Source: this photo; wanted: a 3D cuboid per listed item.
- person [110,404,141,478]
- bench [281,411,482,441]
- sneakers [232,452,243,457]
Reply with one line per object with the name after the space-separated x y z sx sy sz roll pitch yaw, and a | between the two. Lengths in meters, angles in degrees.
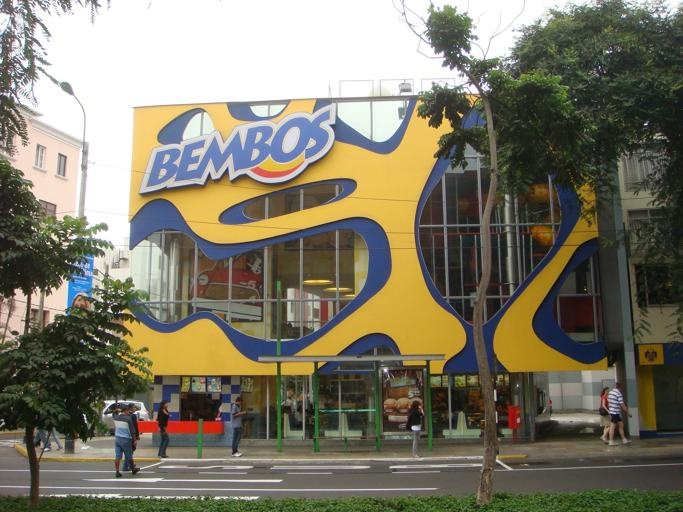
-6.460 5.551 23.883 0.773 2.084 1.120 2 -11 -16 | person
1.594 6.678 31.546 7.888 1.225 1.669 -3 -12 9 | bench
-3.668 6.986 27.975 0.353 0.165 0.134 -1 -2 4 | sneakers
